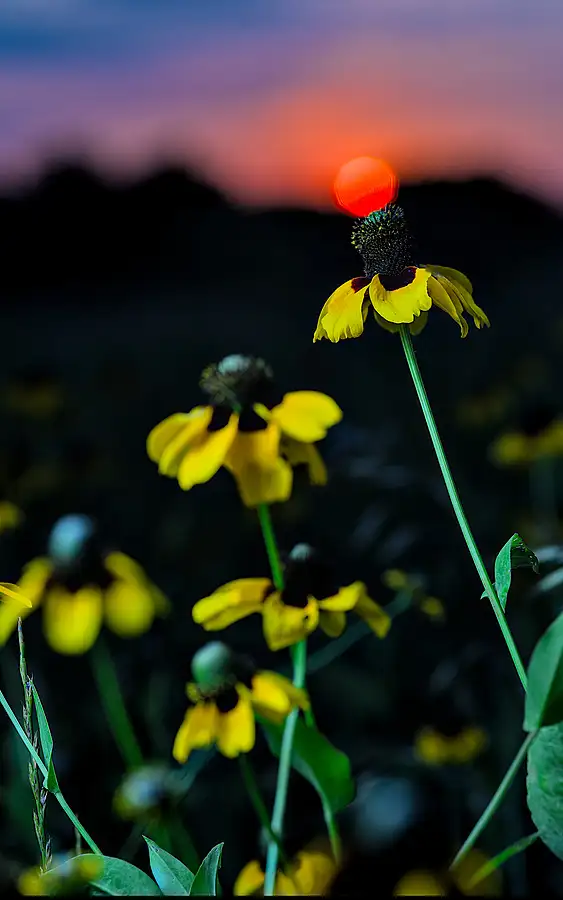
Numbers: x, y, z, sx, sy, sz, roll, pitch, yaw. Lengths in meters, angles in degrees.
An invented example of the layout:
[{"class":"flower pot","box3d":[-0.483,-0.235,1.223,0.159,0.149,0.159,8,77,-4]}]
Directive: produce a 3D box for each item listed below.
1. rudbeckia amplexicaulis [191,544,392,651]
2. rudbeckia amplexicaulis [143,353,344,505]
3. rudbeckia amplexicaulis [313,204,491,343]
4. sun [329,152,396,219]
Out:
[{"class":"rudbeckia amplexicaulis","box3d":[0.014,0.066,0.395,0.081,0.033,0.086,2,2,34]},{"class":"rudbeckia amplexicaulis","box3d":[-0.022,-0.011,0.403,0.090,0.037,0.102,-16,35,-20]},{"class":"rudbeckia amplexicaulis","box3d":[0.055,-0.088,0.390,0.081,0.059,0.084,-10,9,26]},{"class":"sun","box3d":[0.045,-0.129,0.399,0.033,0.032,0.017,3,-6,-2]}]
